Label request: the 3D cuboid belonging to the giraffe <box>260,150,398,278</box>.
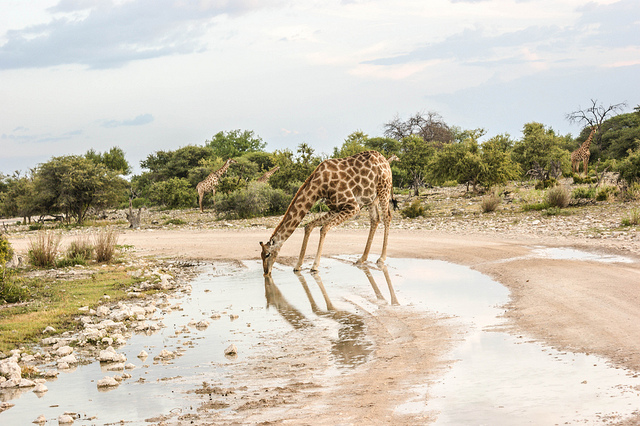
[{"bbox_3d":[0.525,-0.122,19.738,4.507,3.586,1.120,-5,7,-20],"label":"giraffe"}]
